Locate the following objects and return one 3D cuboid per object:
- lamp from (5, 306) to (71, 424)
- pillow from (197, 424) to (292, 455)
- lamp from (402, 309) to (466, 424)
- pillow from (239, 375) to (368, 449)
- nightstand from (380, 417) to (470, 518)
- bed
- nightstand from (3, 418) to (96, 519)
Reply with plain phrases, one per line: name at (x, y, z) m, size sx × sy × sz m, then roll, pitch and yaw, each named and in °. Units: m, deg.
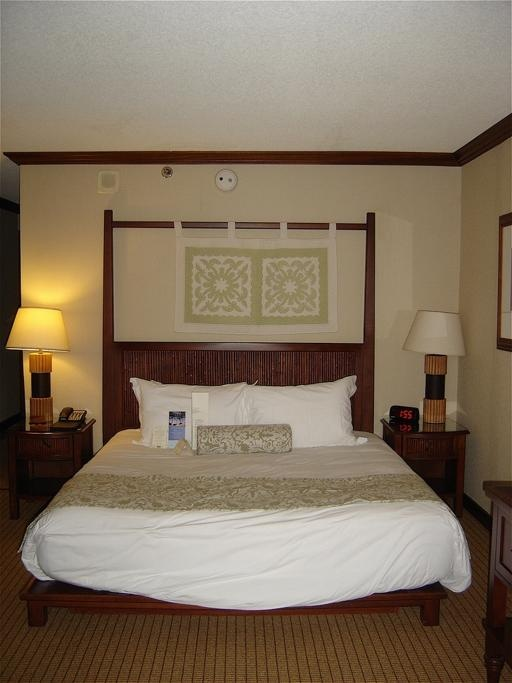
lamp at (-1.446, 0.165, 3.512) m, size 0.333 × 0.786 × 0.376 m, roll 1°, pitch 3°, yaw 2°
pillow at (-0.079, 0.602, 3.156) m, size 0.564 × 0.162 × 0.165 m, roll 0°, pitch 3°, yaw -5°
lamp at (1.164, 0.181, 3.470) m, size 0.345 × 0.757 × 0.323 m, roll 0°, pitch 3°, yaw -15°
pillow at (0.306, 0.459, 3.396) m, size 0.783 × 0.398 × 0.380 m, roll 0°, pitch 3°, yaw -2°
nightstand at (1.128, 0.835, 3.636) m, size 0.607 × 0.830 × 0.588 m, roll 0°, pitch 3°, yaw 0°
bed at (-0.128, 0.364, 3.020) m, size 2.202 × 2.134 × 0.760 m, roll -1°, pitch 0°, yaw -2°
nightstand at (-1.366, 0.792, 3.602) m, size 0.635 × 0.785 × 0.629 m, roll 0°, pitch 1°, yaw -9°
